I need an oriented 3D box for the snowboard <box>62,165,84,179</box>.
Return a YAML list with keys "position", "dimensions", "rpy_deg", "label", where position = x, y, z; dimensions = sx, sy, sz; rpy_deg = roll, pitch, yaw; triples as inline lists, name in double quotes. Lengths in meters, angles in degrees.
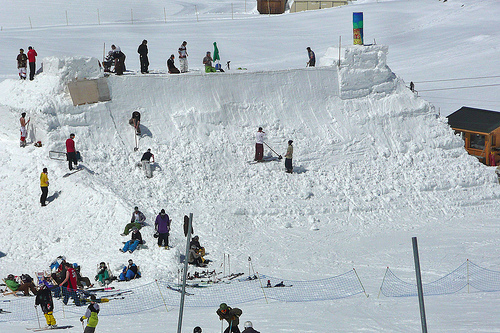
- position: [-11.336, 0.352, 58.995]
  dimensions: [1.802, 0.482, 0.273]
  rpy_deg: [-29, -13, -18]
  label: "snowboard"
